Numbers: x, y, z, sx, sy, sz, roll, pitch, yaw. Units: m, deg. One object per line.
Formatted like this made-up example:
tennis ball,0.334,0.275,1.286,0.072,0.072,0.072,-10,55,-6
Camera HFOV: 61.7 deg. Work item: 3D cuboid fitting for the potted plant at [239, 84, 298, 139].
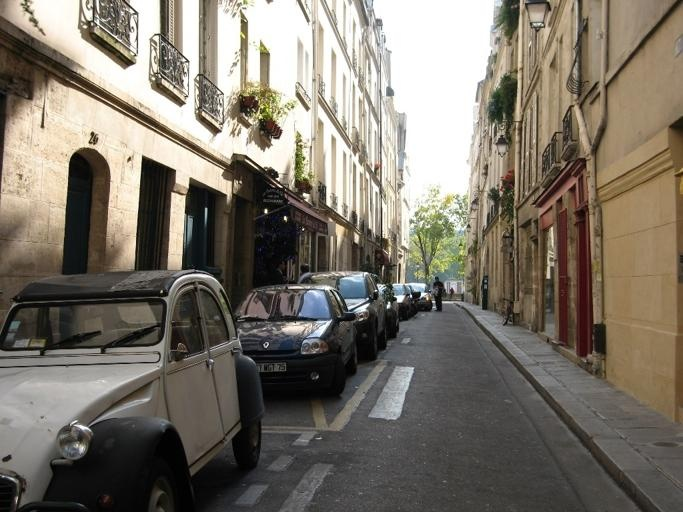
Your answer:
potted plant,-2.386,-4.565,17.239,0.763,1.278,2.002,2,-2,6
